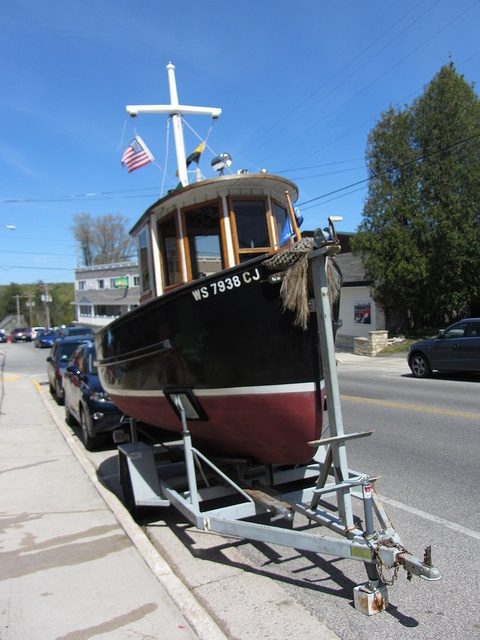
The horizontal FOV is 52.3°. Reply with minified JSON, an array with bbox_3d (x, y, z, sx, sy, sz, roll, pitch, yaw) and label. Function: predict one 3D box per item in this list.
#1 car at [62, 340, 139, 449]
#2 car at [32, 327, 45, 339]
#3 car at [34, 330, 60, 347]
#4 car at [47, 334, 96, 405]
[{"bbox_3d":[-2.209,1.204,7.668,1.030,1.042,2.233,1,-4,-29],"label":"car"},{"bbox_3d":[-17.654,1.196,42.762,0.985,0.848,1.785,-1,6,-20],"label":"car"},{"bbox_3d":[-12.719,1.271,32.184,1.472,1.123,3.482,-3,-2,-26],"label":"car"},{"bbox_3d":[-4.239,1.129,12.092,1.272,1.207,2.563,-1,-2,-20],"label":"car"}]
